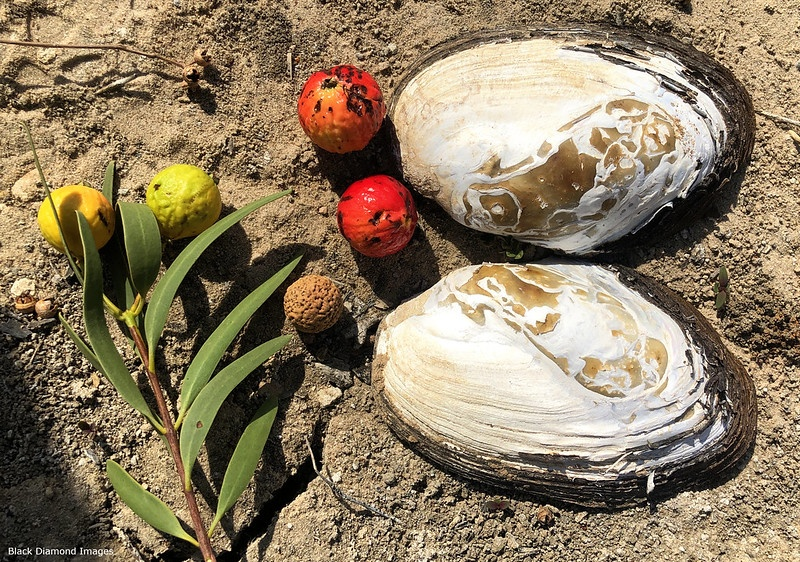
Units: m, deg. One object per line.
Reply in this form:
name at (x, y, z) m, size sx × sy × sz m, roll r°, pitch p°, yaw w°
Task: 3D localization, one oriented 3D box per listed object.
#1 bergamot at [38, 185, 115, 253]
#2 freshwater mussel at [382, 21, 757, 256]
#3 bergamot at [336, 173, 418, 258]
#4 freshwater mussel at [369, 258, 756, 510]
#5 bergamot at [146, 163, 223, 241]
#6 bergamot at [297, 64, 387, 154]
bergamot at (-1.473, -0.262, 4.451) m, size 0.310 × 0.317 × 0.332 m, roll -23°, pitch 50°, yaw -35°
freshwater mussel at (0.797, -0.696, 4.655) m, size 1.685 × 0.855 × 0.653 m, roll 9°, pitch 39°, yaw -4°
bergamot at (-0.128, -0.307, 4.604) m, size 0.362 × 0.325 × 0.360 m, roll 44°, pitch 82°, yaw 6°
freshwater mussel at (0.763, 0.490, 4.635) m, size 1.787 × 0.812 × 0.696 m, roll 13°, pitch 39°, yaw -1°
bergamot at (-1.007, -0.330, 4.517) m, size 0.350 × 0.389 × 0.209 m, roll 0°, pitch 39°, yaw -14°
bergamot at (-0.269, -0.806, 4.441) m, size 0.360 × 0.348 × 0.399 m, roll 8°, pitch 80°, yaw -6°
